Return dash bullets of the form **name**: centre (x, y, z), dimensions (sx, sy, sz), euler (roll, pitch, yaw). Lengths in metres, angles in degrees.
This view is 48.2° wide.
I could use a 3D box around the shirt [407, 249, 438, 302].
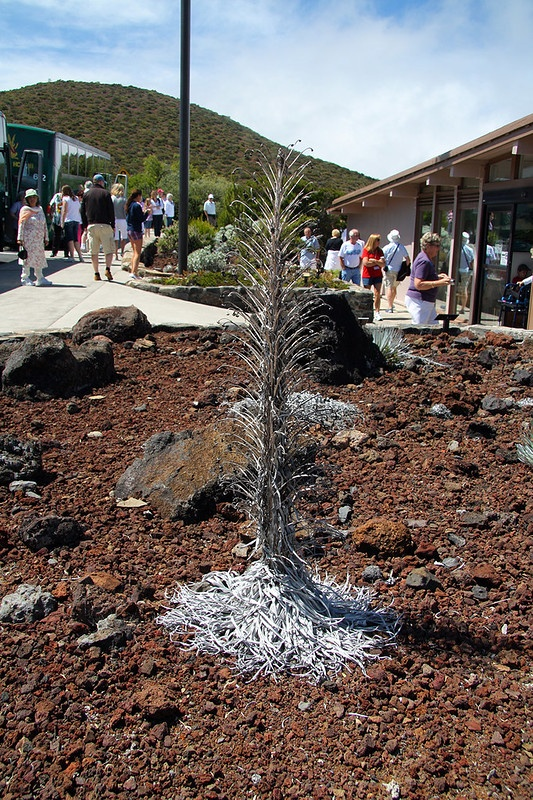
- **shirt**: centre (2.101, -1.659, 8.013), dimensions (0.394, 0.667, 0.574), euler (4, 11, 13)
